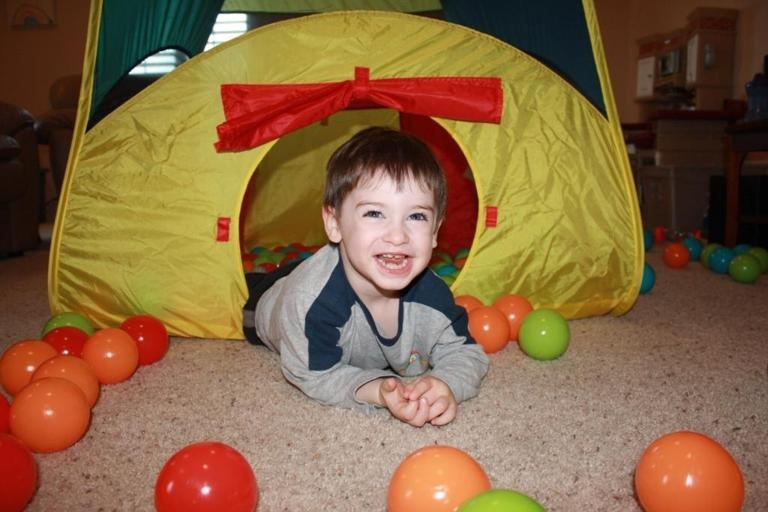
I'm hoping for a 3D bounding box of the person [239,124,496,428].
[{"bbox_3d":[-0.144,0.015,2.581,0.653,0.985,1.544,-6,12,-26],"label":"person"}]
